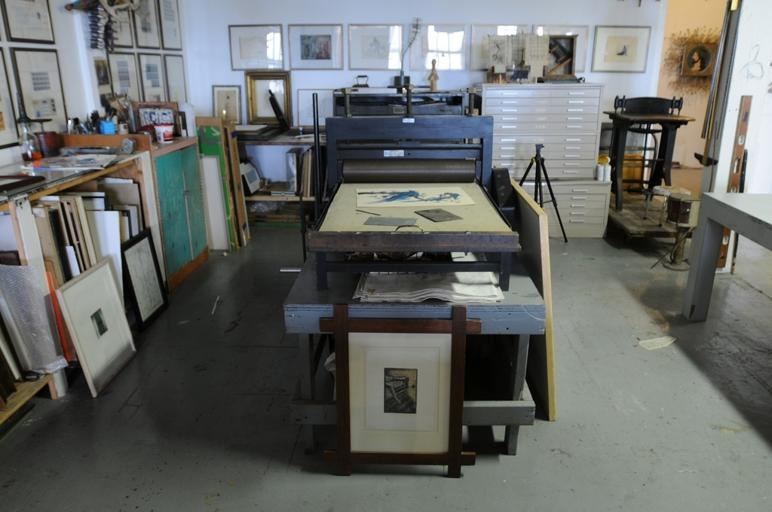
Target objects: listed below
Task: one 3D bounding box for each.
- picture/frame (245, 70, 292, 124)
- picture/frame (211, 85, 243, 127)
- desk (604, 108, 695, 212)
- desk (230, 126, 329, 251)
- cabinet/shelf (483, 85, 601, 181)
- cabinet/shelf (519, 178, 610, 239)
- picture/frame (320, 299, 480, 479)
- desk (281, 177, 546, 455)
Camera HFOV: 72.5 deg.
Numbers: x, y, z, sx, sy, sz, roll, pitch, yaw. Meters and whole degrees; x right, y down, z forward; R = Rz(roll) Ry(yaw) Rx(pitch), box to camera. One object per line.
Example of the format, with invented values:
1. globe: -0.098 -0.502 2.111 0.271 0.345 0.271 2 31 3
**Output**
1. picture/frame: -1.467 -2.003 6.557 0.721 0.754 0.092 0 22 0
2. picture/frame: -2.008 -1.906 6.629 0.368 0.454 0.122 3 23 12
3. desk: 3.054 -1.142 6.238 0.840 1.052 0.951 4 23 13
4. desk: -1.169 -0.715 5.643 0.959 1.152 1.238 -1 28 -5
5. cabinet/shelf: 1.636 -1.342 5.537 1.347 1.054 0.458 0 24 3
6. cabinet/shelf: 1.804 -0.505 5.240 0.782 0.538 0.287 0 28 3
7. picture/frame: 0.072 0.720 2.848 1.137 1.175 0.107 -1 26 3
8. desk: 0.314 0.320 3.455 1.319 0.895 1.902 0 20 4
